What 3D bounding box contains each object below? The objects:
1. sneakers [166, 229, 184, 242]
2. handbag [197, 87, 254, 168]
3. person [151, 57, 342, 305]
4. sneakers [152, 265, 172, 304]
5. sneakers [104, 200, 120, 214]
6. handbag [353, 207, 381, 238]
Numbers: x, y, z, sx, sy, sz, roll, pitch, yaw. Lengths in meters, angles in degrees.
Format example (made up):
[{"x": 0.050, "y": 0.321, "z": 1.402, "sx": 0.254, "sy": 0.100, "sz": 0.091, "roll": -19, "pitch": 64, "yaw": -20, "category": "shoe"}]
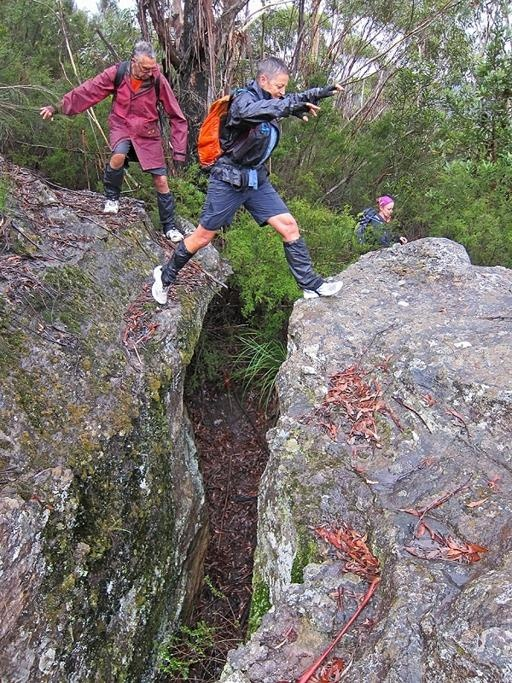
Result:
[{"x": -0.747, "y": -0.968, "z": 4.798, "sx": 0.085, "sy": 0.105, "sz": 0.186, "roll": 36, "pitch": 1, "yaw": -39, "category": "sneakers"}, {"x": -0.275, "y": -1.422, "z": 3.565, "sx": 0.281, "sy": 0.424, "sz": 0.284, "roll": -18, "pitch": 40, "yaw": -13, "category": "handbag"}, {"x": -0.038, "y": -1.029, "z": 3.709, "sx": 1.323, "sy": 1.730, "sz": 0.636, "roll": 12, "pitch": 33, "yaw": 7, "category": "person"}, {"x": -0.714, "y": -0.416, "z": 4.002, "sx": 0.136, "sy": 0.321, "sz": 0.109, "roll": 3, "pitch": 16, "yaw": 33, "category": "sneakers"}, {"x": -1.209, "y": -1.128, "z": 4.392, "sx": 0.085, "sy": 0.072, "sz": 0.156, "roll": -7, "pitch": 42, "yaw": -17, "category": "sneakers"}, {"x": 1.289, "y": -1.349, "z": 5.979, "sx": 0.294, "sy": 0.271, "sz": 0.595, "roll": 13, "pitch": 34, "yaw": 7, "category": "handbag"}]
